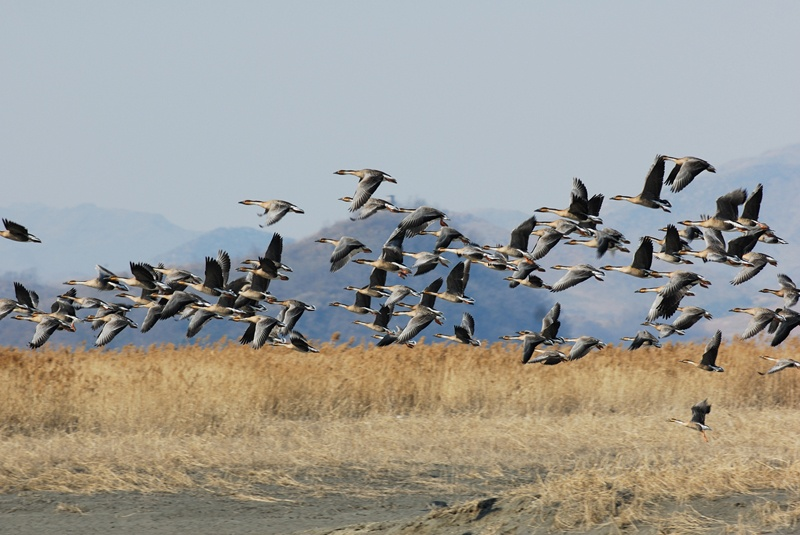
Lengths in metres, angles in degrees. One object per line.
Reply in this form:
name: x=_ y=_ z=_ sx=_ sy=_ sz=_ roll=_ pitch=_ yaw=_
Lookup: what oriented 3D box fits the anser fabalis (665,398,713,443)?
anser fabalis: x=7.760 y=4.168 z=38.894 sx=1.261 sy=0.492 sz=1.494 roll=11 pitch=31 yaw=34
